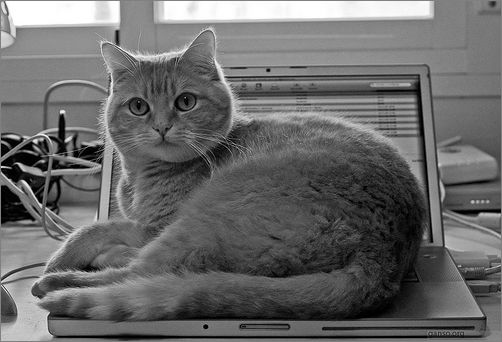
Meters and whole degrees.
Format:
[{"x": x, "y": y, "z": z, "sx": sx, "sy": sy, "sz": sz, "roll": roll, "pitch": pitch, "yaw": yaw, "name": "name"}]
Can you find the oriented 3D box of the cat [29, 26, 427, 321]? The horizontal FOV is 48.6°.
[{"x": -0.210, "y": 0.018, "z": 1.216, "sx": 0.602, "sy": 0.446, "sz": 0.457, "roll": -19, "pitch": -4, "yaw": 16, "name": "cat"}]
